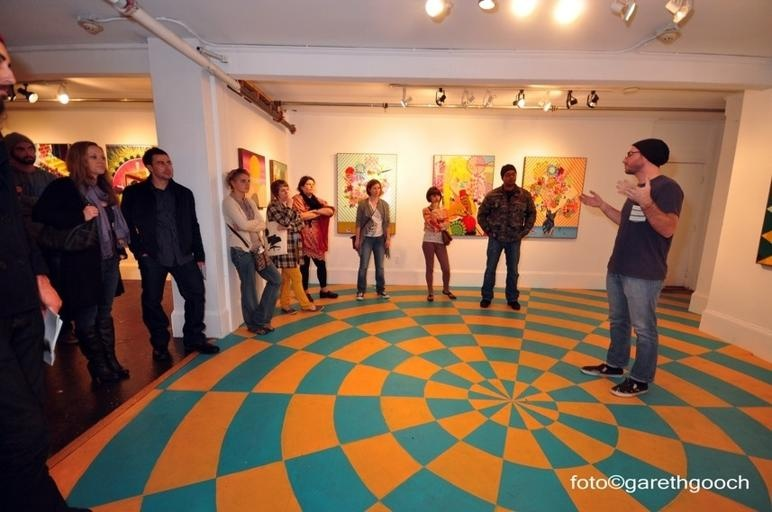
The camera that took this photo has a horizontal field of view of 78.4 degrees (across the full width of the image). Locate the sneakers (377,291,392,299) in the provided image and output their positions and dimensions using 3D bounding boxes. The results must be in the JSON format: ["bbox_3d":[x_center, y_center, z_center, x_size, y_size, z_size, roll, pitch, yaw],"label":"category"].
[{"bbox_3d":[-0.030,0.683,8.075,0.086,0.089,0.214,-3,3,-38],"label":"sneakers"}]

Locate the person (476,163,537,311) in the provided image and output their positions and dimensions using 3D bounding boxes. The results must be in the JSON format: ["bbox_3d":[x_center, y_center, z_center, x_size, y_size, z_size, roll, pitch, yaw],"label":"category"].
[{"bbox_3d":[1.904,-0.298,7.573,0.871,2.261,0.492,4,11,10],"label":"person"}]

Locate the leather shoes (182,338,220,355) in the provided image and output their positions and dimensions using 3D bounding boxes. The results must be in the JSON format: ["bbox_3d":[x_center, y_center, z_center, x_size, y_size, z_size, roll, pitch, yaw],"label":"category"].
[{"bbox_3d":[-2.344,1.168,6.086,0.486,0.209,0.182,0,-1,-2],"label":"leather shoes"}]

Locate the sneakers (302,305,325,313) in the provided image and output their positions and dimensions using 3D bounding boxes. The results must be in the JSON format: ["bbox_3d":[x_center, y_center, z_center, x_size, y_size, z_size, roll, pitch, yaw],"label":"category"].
[{"bbox_3d":[-1.122,0.808,7.315,0.292,0.095,0.119,-4,11,-1],"label":"sneakers"}]

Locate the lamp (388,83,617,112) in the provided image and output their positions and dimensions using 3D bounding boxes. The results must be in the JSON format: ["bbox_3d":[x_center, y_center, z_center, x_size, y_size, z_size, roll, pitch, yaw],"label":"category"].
[{"bbox_3d":[1.931,-2.586,7.844,3.175,0.296,1.184,2,11,1],"label":"lamp"}]

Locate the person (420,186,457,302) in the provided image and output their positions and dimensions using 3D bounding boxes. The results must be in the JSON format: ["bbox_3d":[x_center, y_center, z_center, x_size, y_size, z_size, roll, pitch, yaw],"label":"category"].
[{"bbox_3d":[0.863,-0.208,7.981,0.538,1.859,0.540,-3,12,-24],"label":"person"}]

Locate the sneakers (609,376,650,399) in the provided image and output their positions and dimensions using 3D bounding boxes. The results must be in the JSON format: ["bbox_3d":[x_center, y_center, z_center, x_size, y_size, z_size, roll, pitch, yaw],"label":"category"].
[{"bbox_3d":[2.796,1.511,5.452,0.453,0.200,0.187,-1,-1,-5],"label":"sneakers"}]

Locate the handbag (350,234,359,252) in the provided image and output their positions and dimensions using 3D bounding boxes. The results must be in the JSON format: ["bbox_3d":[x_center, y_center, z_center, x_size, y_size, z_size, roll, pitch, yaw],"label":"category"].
[{"bbox_3d":[-0.577,-0.214,8.086,0.245,0.234,0.258,-2,-16,5],"label":"handbag"}]

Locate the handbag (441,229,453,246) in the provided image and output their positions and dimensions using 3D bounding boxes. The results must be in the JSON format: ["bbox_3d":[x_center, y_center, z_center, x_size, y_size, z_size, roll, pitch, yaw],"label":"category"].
[{"bbox_3d":[1.031,-0.323,7.835,0.134,0.253,0.255,11,14,39],"label":"handbag"}]

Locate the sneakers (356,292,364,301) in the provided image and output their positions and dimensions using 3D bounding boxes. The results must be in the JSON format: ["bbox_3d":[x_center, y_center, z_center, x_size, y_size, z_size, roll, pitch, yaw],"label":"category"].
[{"bbox_3d":[-0.433,0.681,7.915,0.117,0.140,0.328,0,-3,4],"label":"sneakers"}]

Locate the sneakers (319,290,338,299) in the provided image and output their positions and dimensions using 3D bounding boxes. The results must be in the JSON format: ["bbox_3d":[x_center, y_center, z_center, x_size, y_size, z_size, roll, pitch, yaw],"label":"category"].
[{"bbox_3d":[-0.968,0.660,8.009,0.287,0.126,0.126,1,3,-4],"label":"sneakers"}]

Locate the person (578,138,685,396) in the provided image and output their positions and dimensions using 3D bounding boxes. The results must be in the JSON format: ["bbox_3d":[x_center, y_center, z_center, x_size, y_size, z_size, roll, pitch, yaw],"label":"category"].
[{"bbox_3d":[2.784,0.143,5.353,0.762,2.863,0.654,9,13,33],"label":"person"}]

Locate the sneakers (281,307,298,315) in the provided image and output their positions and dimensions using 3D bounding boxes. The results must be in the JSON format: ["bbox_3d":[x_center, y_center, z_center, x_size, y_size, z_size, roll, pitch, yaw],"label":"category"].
[{"bbox_3d":[-1.503,0.835,7.237,0.188,0.075,0.109,2,4,17],"label":"sneakers"}]

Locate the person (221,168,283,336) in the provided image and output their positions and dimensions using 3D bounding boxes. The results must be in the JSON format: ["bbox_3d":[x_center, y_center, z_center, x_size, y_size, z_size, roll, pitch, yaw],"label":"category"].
[{"bbox_3d":[-1.833,-0.049,6.471,0.727,2.208,0.471,-1,11,-13],"label":"person"}]

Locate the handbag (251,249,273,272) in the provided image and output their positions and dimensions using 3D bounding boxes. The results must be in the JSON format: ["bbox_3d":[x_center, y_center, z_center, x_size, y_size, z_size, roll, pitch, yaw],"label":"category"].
[{"bbox_3d":[-1.698,0.067,6.407,0.141,0.257,0.262,-7,7,17],"label":"handbag"}]

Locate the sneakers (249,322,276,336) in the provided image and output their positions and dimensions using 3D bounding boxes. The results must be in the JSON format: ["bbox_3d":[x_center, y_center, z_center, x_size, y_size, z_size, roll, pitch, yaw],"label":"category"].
[{"bbox_3d":[-1.749,1.018,6.553,0.251,0.086,0.147,0,3,25],"label":"sneakers"}]

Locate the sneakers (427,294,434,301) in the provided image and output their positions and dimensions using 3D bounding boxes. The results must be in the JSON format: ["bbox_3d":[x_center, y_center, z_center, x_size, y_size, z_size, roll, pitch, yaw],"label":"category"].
[{"bbox_3d":[0.749,0.709,7.962,0.104,0.071,0.260,-1,-1,4],"label":"sneakers"}]

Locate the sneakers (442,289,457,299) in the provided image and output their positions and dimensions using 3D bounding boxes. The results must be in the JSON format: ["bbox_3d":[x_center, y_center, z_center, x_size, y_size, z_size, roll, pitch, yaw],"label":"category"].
[{"bbox_3d":[1.081,0.661,8.089,0.125,0.088,0.224,13,-2,-33],"label":"sneakers"}]

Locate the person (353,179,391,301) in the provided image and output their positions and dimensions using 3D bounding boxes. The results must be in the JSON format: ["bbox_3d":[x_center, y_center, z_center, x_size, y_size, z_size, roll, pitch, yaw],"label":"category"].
[{"bbox_3d":[-0.239,-0.272,7.940,0.589,1.963,0.492,1,11,-4],"label":"person"}]

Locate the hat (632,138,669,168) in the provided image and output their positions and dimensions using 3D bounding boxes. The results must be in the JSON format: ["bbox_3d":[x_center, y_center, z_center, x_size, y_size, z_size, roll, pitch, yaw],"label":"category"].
[{"bbox_3d":[2.949,-1.137,5.251,0.397,0.302,0.133,2,11,1],"label":"hat"}]

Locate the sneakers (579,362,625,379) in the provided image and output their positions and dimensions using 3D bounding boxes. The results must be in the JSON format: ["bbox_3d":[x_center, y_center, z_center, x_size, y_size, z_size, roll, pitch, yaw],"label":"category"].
[{"bbox_3d":[2.625,1.385,5.790,0.517,0.195,0.195,3,1,16],"label":"sneakers"}]

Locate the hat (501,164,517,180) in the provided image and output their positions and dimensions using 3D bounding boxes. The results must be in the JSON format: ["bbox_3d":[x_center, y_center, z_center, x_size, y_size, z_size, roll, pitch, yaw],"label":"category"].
[{"bbox_3d":[1.941,-1.328,7.480,0.205,0.243,0.264,-6,12,-31],"label":"hat"}]
